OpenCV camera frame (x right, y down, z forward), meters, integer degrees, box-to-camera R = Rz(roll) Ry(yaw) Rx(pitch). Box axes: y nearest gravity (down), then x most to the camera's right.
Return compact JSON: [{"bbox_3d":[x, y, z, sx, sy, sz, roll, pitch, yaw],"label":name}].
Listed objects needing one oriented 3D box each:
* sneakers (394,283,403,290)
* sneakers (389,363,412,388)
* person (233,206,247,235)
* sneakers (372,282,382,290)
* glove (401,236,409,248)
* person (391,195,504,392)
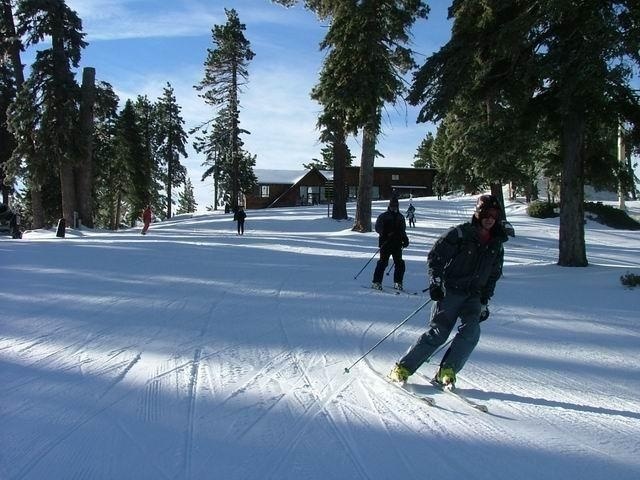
[{"bbox_3d":[1.913,1.129,13.874,0.126,0.156,0.176,2,8,-8],"label":"sneakers"},{"bbox_3d":[1.212,2.044,8.635,0.204,0.278,0.381,7,-13,3],"label":"sneakers"},{"bbox_3d":[-3.968,-0.887,28.288,0.485,1.501,2.226,-1,15,-9],"label":"person"},{"bbox_3d":[1.376,1.112,13.846,0.127,0.115,0.176,7,-5,-18],"label":"sneakers"},{"bbox_3d":[2.050,0.055,13.738,0.160,0.266,0.238,-3,7,4],"label":"glove"},{"bbox_3d":[2.001,0.774,8.425,1.415,2.858,0.493,-3,14,-18],"label":"person"}]
